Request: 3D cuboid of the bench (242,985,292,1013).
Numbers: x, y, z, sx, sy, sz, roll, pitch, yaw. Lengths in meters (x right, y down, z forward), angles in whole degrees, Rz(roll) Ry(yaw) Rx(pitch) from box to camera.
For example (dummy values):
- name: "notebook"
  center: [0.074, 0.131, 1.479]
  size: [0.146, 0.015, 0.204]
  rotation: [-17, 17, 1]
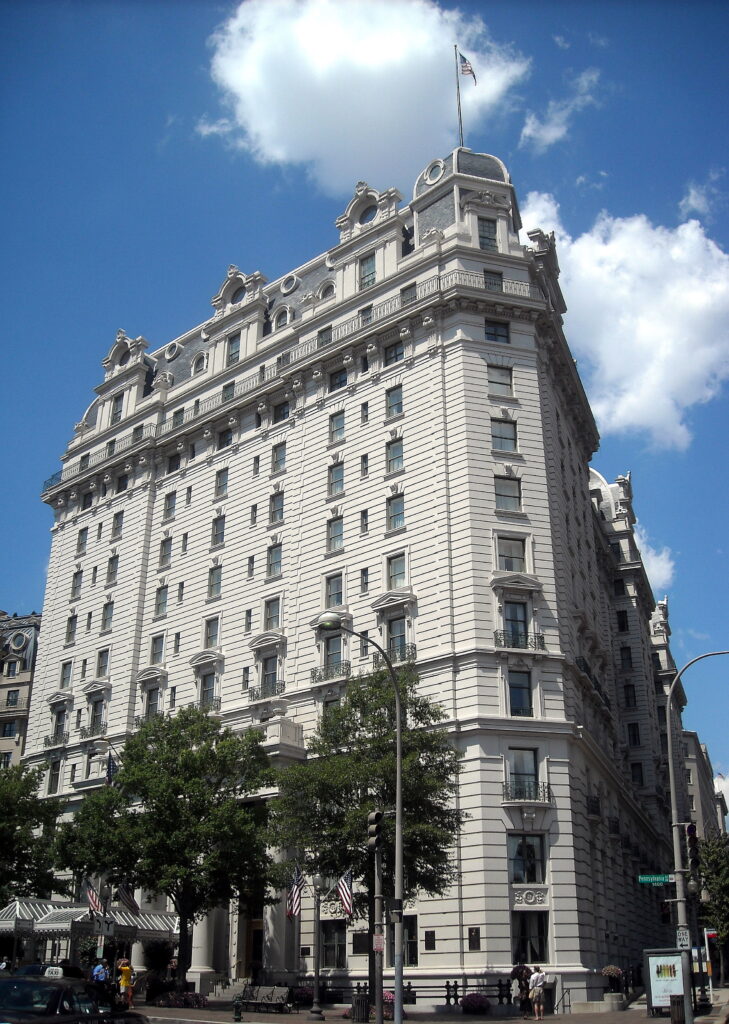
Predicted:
- name: "bench"
  center: [-3.315, 16.656, 35.416]
  size: [1.373, 0.805, 2.134]
  rotation: [16, -30, -30]
